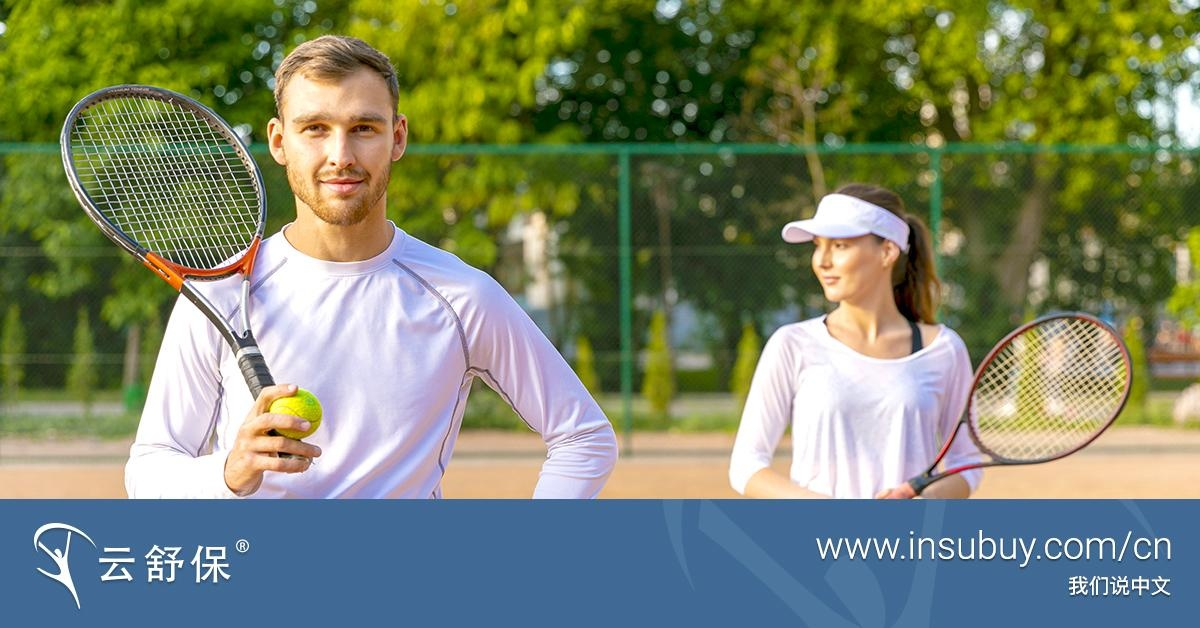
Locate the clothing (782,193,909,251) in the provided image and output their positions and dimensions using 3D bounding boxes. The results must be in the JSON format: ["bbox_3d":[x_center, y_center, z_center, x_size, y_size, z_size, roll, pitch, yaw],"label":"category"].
[{"bbox_3d":[2.185,-0.771,12.911,0.806,0.304,0.567,9,-8,-8],"label":"clothing"}]

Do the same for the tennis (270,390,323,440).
[{"bbox_3d":[-2.389,0.755,11.849,0.371,0.405,0.388,0,11,31],"label":"tennis"}]
